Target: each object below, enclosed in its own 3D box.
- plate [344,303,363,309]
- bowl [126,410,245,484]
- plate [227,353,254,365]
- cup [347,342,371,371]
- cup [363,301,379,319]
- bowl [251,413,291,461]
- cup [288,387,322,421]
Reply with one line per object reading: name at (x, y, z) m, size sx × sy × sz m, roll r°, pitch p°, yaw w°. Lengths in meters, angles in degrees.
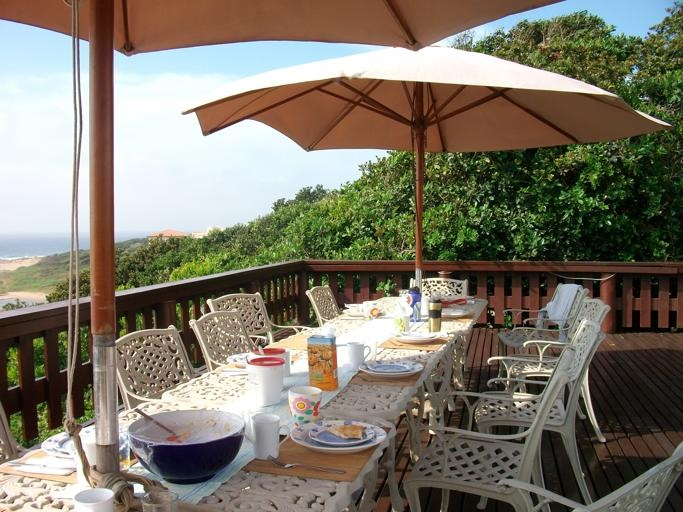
plate at (0.099, 0.364, 3.801) m, size 0.098 × 0.035 × 0.079 m, roll 0°, pitch -2°, yaw 0°
bowl at (-0.461, 0.572, 1.544) m, size 0.329 × 0.169 × 0.225 m, roll 2°, pitch 6°, yaw 17°
plate at (-0.507, 0.503, 2.564) m, size 0.137 × 0.020 × 0.134 m, roll -5°, pitch 9°, yaw -44°
cup at (0.082, 0.462, 2.446) m, size 0.133 × 0.131 × 0.085 m, roll 1°, pitch -3°, yaw -45°
cup at (0.202, 0.367, 3.608) m, size 0.085 × 0.087 × 0.112 m, roll 0°, pitch 3°, yaw 5°
bowl at (-0.227, 0.561, 1.604) m, size 0.135 × 0.129 × 0.083 m, roll 3°, pitch -3°, yaw -26°
cup at (-0.128, 0.516, 1.838) m, size 0.106 × 0.128 × 0.113 m, roll 0°, pitch -1°, yaw 0°
